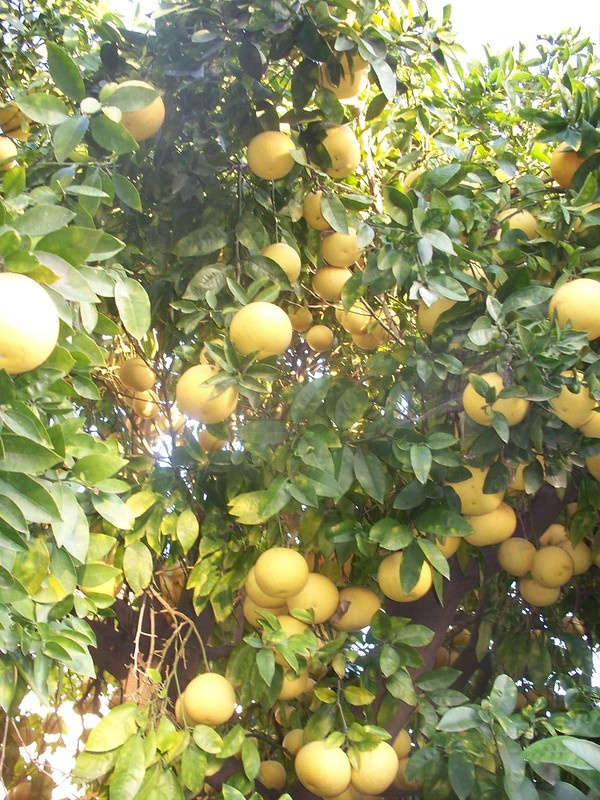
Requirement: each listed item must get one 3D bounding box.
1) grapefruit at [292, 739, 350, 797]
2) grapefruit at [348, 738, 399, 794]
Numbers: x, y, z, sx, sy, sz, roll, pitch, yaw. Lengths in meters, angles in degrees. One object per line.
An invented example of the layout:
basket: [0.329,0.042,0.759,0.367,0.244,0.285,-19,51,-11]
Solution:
grapefruit: [0.051,0.805,1.487,0.146,0.155,0.125,-2,-44,1]
grapefruit: [0.161,0.822,1.485,0.082,0.121,0.138,-6,-16,39]
